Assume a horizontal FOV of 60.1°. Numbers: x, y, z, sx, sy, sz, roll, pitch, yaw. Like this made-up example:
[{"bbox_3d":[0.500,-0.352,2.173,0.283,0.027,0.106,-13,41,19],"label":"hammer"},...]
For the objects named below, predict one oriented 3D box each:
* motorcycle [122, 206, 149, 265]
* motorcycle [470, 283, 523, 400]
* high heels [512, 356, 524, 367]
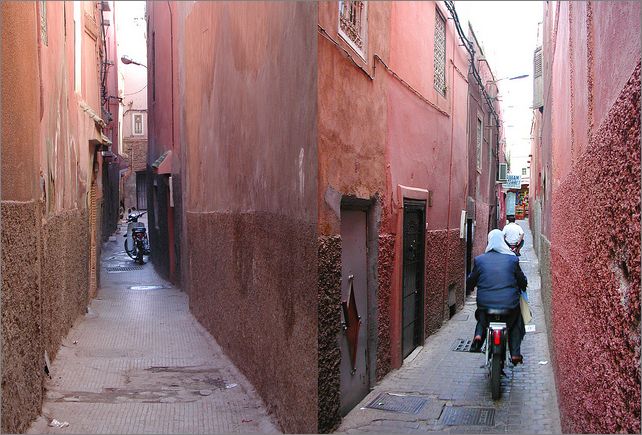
[{"bbox_3d":[-6.577,0.586,19.538,0.710,1.538,2.145,-6,9,-26],"label":"motorcycle"},{"bbox_3d":[2.204,1.655,7.012,0.600,1.011,1.049,2,3,30],"label":"motorcycle"},{"bbox_3d":[2.419,1.801,6.896,0.106,0.125,0.150,2,-5,-13],"label":"high heels"}]
